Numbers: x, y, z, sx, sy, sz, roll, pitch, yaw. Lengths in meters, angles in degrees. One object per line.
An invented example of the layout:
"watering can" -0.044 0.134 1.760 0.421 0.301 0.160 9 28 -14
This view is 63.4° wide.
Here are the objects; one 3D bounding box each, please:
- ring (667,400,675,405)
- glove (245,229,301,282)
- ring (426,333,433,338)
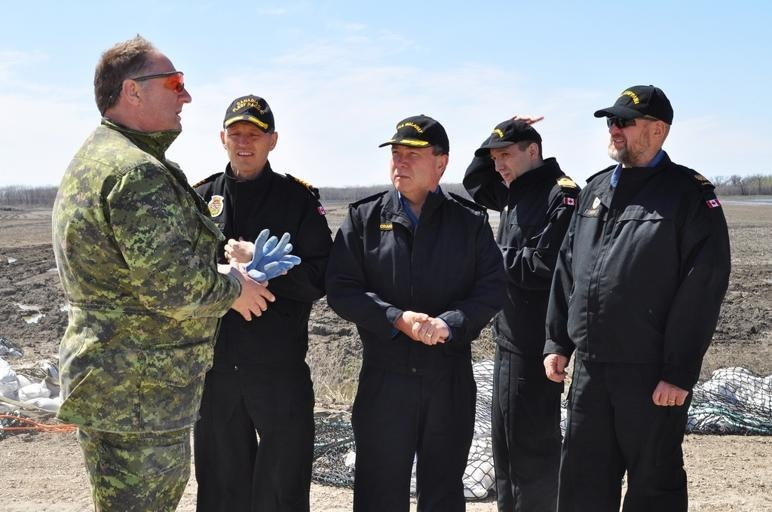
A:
"ring" 2.093 1.087 4.603 0.035 0.044 0.016 1 25 8
"glove" -0.857 0.010 4.616 0.271 0.396 0.132 28 -37 7
"ring" 0.308 0.581 4.538 0.034 0.032 0.016 2 8 6
